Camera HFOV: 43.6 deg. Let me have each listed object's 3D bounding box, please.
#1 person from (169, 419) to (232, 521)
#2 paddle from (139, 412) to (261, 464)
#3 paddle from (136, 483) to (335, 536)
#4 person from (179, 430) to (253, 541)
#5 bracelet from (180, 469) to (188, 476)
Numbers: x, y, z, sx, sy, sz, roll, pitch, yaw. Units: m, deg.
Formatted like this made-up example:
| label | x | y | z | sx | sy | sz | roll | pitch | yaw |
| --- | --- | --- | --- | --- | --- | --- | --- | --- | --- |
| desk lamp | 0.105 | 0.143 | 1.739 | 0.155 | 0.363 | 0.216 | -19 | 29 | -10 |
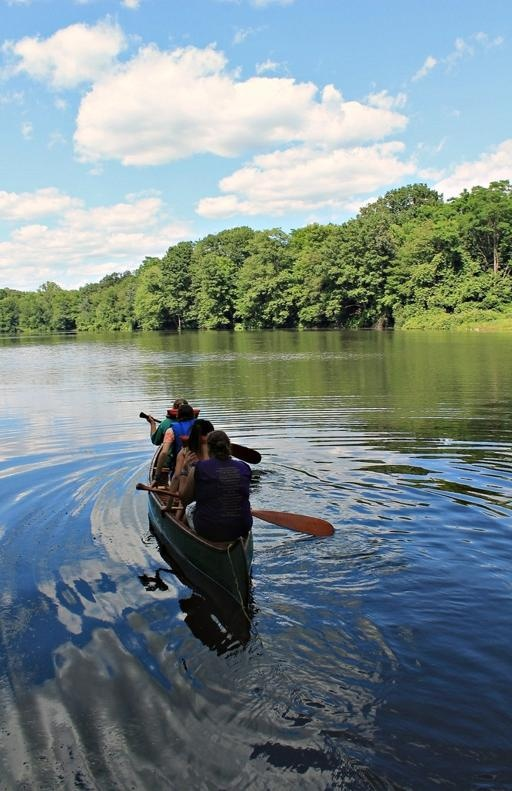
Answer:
| label | x | y | z | sx | sy | sz | roll | pitch | yaw |
| --- | --- | --- | --- | --- | --- | --- | --- | --- | --- |
| person | -0.544 | 0.713 | 6.007 | 0.567 | 0.333 | 2.486 | -3 | -13 | -10 |
| paddle | -0.785 | 0.581 | 8.676 | 0.190 | 0.348 | 1.837 | -14 | -30 | 43 |
| paddle | -0.227 | 1.162 | 6.433 | 2.173 | 0.167 | 0.439 | 9 | 34 | 32 |
| person | -0.366 | 0.768 | 5.369 | 0.595 | 0.976 | 0.489 | -2 | 10 | 7 |
| bracelet | -0.766 | 0.800 | 6.709 | 0.061 | 0.042 | 0.059 | 3 | -5 | -25 |
